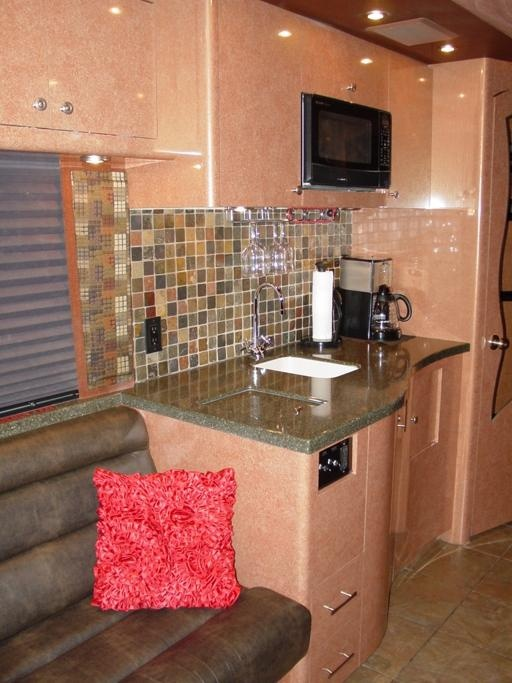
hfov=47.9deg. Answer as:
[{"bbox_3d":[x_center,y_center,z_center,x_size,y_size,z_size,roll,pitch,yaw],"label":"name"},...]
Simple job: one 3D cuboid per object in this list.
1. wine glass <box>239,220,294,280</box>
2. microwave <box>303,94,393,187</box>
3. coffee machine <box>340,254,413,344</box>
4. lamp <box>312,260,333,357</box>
[{"bbox_3d":[0.032,-0.361,2.238,0.239,0.211,0.085,-6,10,-40],"label":"wine glass"},{"bbox_3d":[0.303,-0.692,1.975,0.204,0.247,0.382,9,17,34],"label":"microwave"},{"bbox_3d":[0.555,-0.207,2.705,0.292,0.349,0.216,10,12,35],"label":"coffee machine"},{"bbox_3d":[0.292,-0.171,2.512,0.087,0.335,0.073,1,4,3],"label":"lamp"}]
